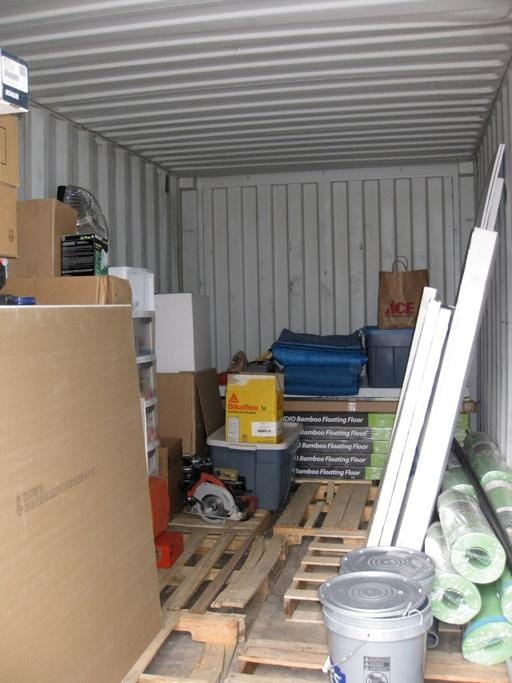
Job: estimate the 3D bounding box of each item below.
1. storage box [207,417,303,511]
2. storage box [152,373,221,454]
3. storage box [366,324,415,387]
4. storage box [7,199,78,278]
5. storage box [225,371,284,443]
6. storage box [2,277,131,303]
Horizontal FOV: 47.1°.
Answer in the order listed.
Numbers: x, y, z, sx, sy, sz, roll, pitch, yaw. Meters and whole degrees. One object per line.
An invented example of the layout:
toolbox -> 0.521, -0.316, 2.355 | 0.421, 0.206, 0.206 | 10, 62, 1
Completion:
storage box -> 0.026, 1.007, 4.753 | 0.530, 0.439, 0.711 | -1, -2, 13
storage box -> -0.541, 0.548, 5.177 | 0.568, 0.778, 1.054 | -1, 3, 7
storage box -> 1.205, 0.131, 5.645 | 0.570, 0.664, 0.488 | 2, -1, 12
storage box -> -1.191, -0.561, 3.208 | 0.297, 0.412, 0.159 | -3, 3, -22
storage box -> -0.020, 0.512, 4.476 | 0.534, 0.701, 0.377 | 1, 0, 9
storage box -> -0.968, -0.268, 3.052 | 0.359, 0.122, 0.253 | 2, 6, 9
